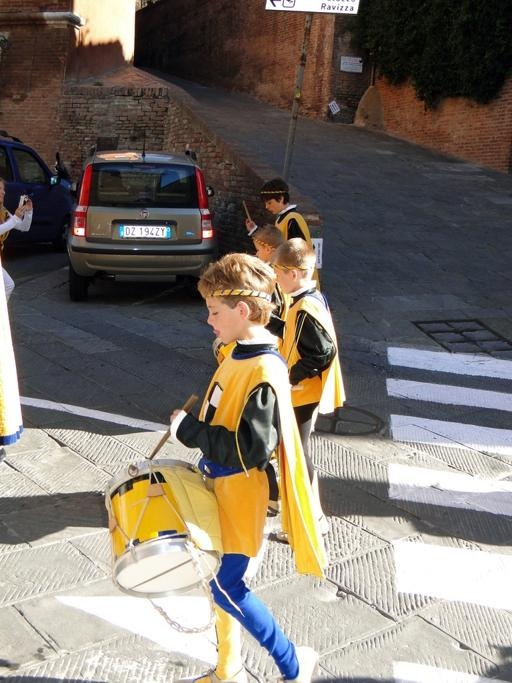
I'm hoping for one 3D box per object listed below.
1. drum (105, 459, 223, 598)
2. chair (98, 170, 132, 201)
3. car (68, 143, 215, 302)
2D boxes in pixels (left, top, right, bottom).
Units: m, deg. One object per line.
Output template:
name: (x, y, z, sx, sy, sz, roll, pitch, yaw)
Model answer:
drum: (-0.251, 0.521, 1.588, 0.312, 0.377, 0.365, 1, 14, -13)
chair: (-2.012, -2.198, 8.146, 0.407, 0.484, 0.317, 1, 14, -14)
car: (-2.260, -2.353, 10.000, 2.376, 2.069, 4.302, -4, 25, -19)
